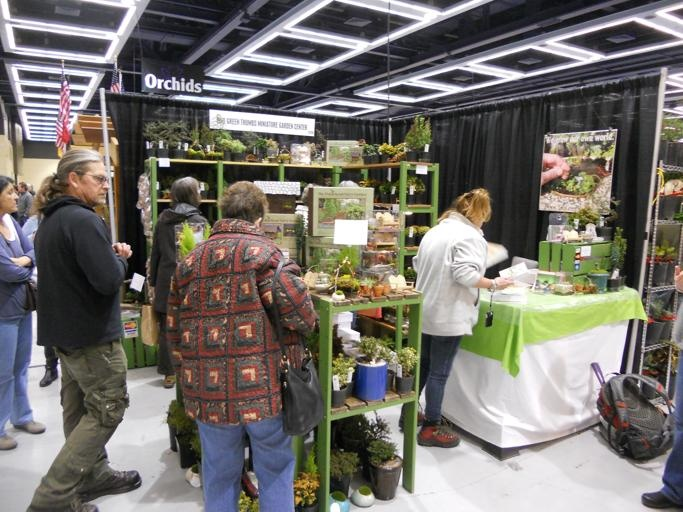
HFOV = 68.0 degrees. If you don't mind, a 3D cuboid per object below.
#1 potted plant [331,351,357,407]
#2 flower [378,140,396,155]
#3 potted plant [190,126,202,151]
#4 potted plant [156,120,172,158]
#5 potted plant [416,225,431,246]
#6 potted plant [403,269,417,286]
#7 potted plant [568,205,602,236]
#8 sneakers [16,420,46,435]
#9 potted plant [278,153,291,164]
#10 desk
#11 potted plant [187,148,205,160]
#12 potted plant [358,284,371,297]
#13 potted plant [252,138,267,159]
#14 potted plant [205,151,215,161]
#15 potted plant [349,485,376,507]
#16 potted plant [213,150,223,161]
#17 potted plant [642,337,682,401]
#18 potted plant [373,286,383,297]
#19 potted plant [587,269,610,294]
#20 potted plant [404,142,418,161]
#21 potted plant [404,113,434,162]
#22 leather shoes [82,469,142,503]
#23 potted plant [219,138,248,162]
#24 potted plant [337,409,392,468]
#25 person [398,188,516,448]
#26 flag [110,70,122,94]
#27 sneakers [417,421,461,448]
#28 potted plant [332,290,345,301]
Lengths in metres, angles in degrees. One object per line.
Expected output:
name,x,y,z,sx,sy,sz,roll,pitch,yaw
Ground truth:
potted plant,0.096,0.910,3.769,0.304,0.374,0.340,0,1,6
flower,0.553,-1.321,6.189,0.203,0.151,0.182,-1,9,-15
potted plant,-1.758,-1.415,6.145,0.117,0.291,0.402,-2,8,-15
potted plant,-2.077,-1.370,5.959,0.165,0.428,0.366,-3,9,-17
potted plant,0.967,-0.254,6.211,0.261,0.263,0.246,0,12,7
potted plant,0.758,0.249,5.879,0.219,0.194,0.180,1,0,-4
potted plant,2.484,-0.379,5.226,0.337,0.316,0.339,2,8,23
sneakers,-2.795,1.570,4.596,0.268,0.099,0.111,1,8,-6
potted plant,-0.713,-1.231,6.359,0.146,0.089,0.137,-5,16,-13
desk,1.896,0.985,5.139,2.391,1.416,1.620,-7,10,-40
potted plant,-1.710,-1.193,5.990,0.179,0.110,0.153,-4,7,-38
potted plant,0.170,0.258,3.744,0.087,0.079,0.088,1,-11,5
potted plant,-1.015,-1.351,6.331,0.151,0.283,0.174,3,9,19
potted plant,-1.571,-1.198,6.050,0.118,0.111,0.112,0,6,14
potted plant,0.162,1.817,3.835,0.147,0.076,0.139,1,-4,4
potted plant,-1.474,-1.202,6.068,0.112,0.105,0.107,-4,16,-15
potted plant,3.301,1.154,5.256,0.492,0.577,0.170,3,1,27
potted plant,0.271,0.265,3.756,0.090,0.068,0.081,0,-3,3
potted plant,2.430,0.255,4.788,0.203,0.189,0.205,-3,3,-45
potted plant,0.791,-1.206,5.852,0.208,0.138,0.198,0,-5,1
potted plant,0.884,-1.371,5.908,0.283,0.535,0.295,1,9,6
leather shoes,-1.747,1.751,3.979,0.482,0.189,0.157,-6,12,-32
potted plant,-1.314,-1.257,6.224,0.373,0.323,0.275,-3,6,-32
potted plant,0.162,1.422,4.066,0.425,0.332,0.413,1,7,1
person,0.972,0.566,4.424,0.668,2.271,0.513,1,9,6
flag,-3.078,-2.403,6.950,0.125,0.351,0.444,-4,9,-22
sneakers,0.834,1.610,4.596,0.435,0.250,0.157,-1,4,-5
potted plant,-0.022,0.282,3.600,0.078,0.055,0.110,1,-2,-3
